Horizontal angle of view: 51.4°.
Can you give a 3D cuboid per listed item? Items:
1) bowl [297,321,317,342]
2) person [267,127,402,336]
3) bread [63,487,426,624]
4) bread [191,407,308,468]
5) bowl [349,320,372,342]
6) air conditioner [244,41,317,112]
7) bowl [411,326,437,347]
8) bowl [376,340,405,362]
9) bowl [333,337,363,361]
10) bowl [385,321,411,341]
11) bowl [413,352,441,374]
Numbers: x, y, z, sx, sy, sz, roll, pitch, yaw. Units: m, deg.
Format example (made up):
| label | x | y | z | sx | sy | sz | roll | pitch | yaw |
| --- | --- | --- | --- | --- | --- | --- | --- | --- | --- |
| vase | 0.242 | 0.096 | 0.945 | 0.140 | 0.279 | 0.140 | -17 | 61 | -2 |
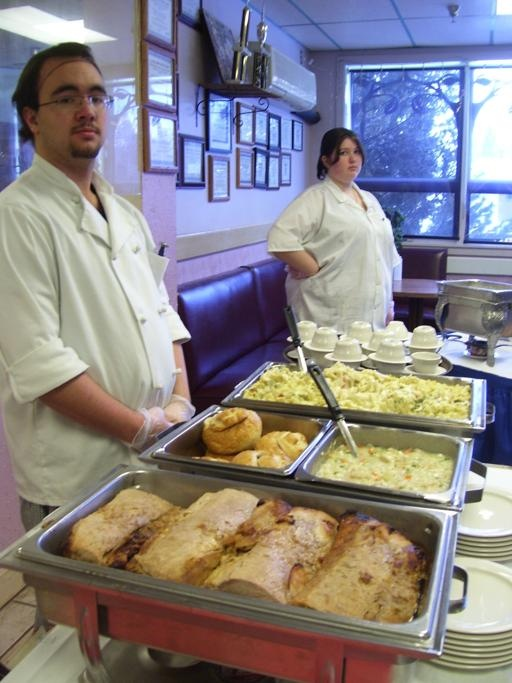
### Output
| label | x | y | z | sx | sy | sz | roll | pitch | yaw |
| --- | --- | --- | --- | --- | --- | --- | --- | --- | --- |
| bowl | 0.205 | -0.042 | 2.060 | 0.077 | 0.050 | 0.075 | 0 | 11 | 0 |
| person | 0.458 | -0.635 | 3.036 | 0.759 | 1.125 | 0.382 | 1 | 13 | 5 |
| bread | -0.025 | 0.265 | 0.693 | 0.334 | 0.061 | 0.172 | 5 | 11 | 17 |
| bread | -0.010 | 0.183 | 1.113 | 0.181 | 0.066 | 0.114 | 6 | 19 | 29 |
| bowl | 0.396 | -0.043 | 1.984 | 0.076 | 0.048 | 0.073 | 1 | 13 | 0 |
| air conditioner | 0.218 | -2.163 | 4.393 | 0.318 | 0.332 | 0.943 | 12 | 18 | 24 |
| bowl | 0.593 | -0.024 | 1.885 | 0.079 | 0.066 | 0.076 | -1 | 5 | 0 |
| bowl | 0.441 | 0.031 | 1.736 | 0.082 | 0.051 | 0.079 | -1 | 8 | 0 |
| bowl | 0.306 | 0.020 | 1.733 | 0.079 | 0.049 | 0.077 | -1 | 10 | 0 |
| bowl | 0.531 | -0.037 | 1.984 | 0.096 | 0.062 | 0.092 | 0 | 9 | 0 |
| bowl | 0.549 | 0.067 | 1.714 | 0.076 | 0.054 | 0.078 | 2 | 15 | 0 |
